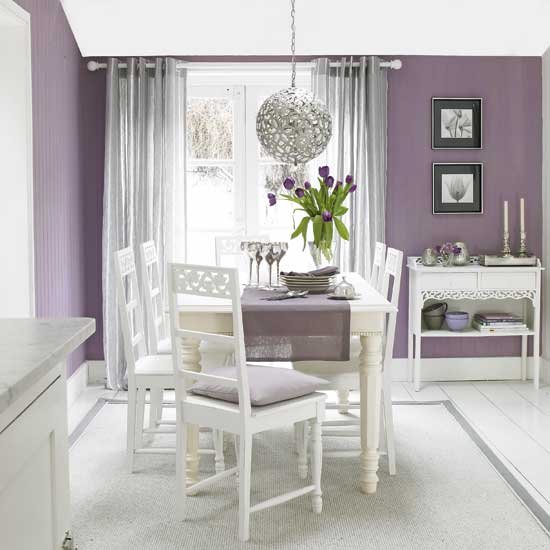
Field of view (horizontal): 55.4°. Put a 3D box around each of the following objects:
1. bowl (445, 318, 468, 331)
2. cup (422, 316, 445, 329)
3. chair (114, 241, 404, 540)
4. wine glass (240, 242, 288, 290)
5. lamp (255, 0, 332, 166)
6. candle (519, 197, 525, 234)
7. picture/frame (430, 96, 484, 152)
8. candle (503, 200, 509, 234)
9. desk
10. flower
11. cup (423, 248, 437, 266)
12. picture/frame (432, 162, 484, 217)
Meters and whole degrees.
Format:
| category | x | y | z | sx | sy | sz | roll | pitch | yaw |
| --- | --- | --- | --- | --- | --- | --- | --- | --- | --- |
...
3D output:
| category | x | y | z | sx | sy | sz | roll | pitch | yaw |
| --- | --- | --- | --- | --- | --- | --- | --- | --- | --- |
| bowl | 1.309 | 0.341 | 3.752 | 0.092 | 0.079 | 0.110 | 0 | 1 | 9 |
| cup | 1.154 | 0.335 | 3.823 | 0.096 | 0.092 | 0.115 | 0 | -6 | 2 |
| chair | -0.167 | 0.405 | 2.298 | 0.954 | 1.260 | 1.086 | 0 | 4 | 11 |
| wine glass | -0.049 | -0.056 | 2.621 | 0.198 | 0.307 | 0.240 | 0 | -1 | -3 |
| lamp | 0.102 | -0.842 | 2.750 | 0.394 | 0.457 | 0.215 | 0 | 4 | 5 |
| candle | 1.822 | -0.453 | 3.842 | 0.039 | 0.260 | 0.202 | 2 | 4 | 25 |
| picture/frame | 1.336 | -1.137 | 3.837 | 0.275 | 0.376 | 0.024 | 0 | 1 | -3 |
| candle | 1.689 | -0.439 | 3.819 | 0.045 | 0.252 | 0.241 | 2 | 4 | 24 |
| desk | 1.453 | 0.318 | 3.801 | 0.683 | 1.016 | 0.300 | 0 | -1 | -1 |
| flower | 0.242 | -0.353 | 2.786 | 0.368 | 0.476 | 0.399 | 1 | 4 | 9 |
| cup | 1.094 | -0.141 | 3.689 | 0.083 | 0.157 | 0.099 | 0 | 1 | -2 |
| picture/frame | 1.354 | -0.658 | 3.876 | 0.334 | 0.423 | 0.046 | 6 | 45 | 27 |
